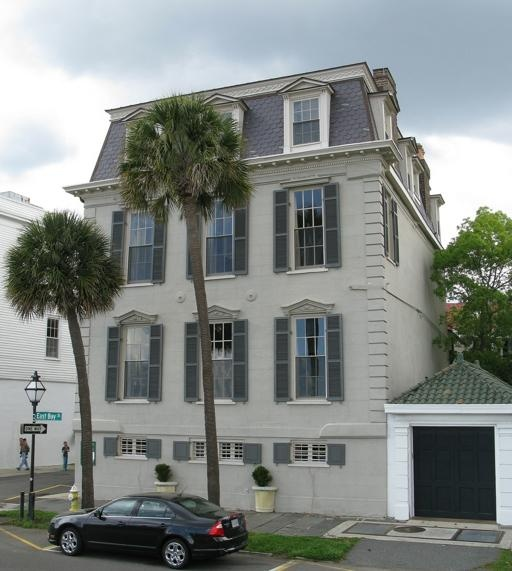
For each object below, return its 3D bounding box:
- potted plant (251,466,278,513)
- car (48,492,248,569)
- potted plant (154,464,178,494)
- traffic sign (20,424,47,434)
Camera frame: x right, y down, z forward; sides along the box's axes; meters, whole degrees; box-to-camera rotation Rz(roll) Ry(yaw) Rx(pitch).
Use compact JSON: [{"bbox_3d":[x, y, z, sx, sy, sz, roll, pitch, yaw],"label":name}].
[{"bbox_3d":[0.282,5.952,20.388,0.721,1.434,0.855,13,-21,-36],"label":"potted plant"},{"bbox_3d":[-2.312,5.233,15.135,4.104,1.338,0.801,-5,-9,25],"label":"car"},{"bbox_3d":[-2.823,5.962,21.879,0.759,0.831,0.490,-7,-10,34],"label":"potted plant"},{"bbox_3d":[-6.208,4.042,19.801,0.635,0.343,0.788,1,-8,-11],"label":"traffic sign"}]
